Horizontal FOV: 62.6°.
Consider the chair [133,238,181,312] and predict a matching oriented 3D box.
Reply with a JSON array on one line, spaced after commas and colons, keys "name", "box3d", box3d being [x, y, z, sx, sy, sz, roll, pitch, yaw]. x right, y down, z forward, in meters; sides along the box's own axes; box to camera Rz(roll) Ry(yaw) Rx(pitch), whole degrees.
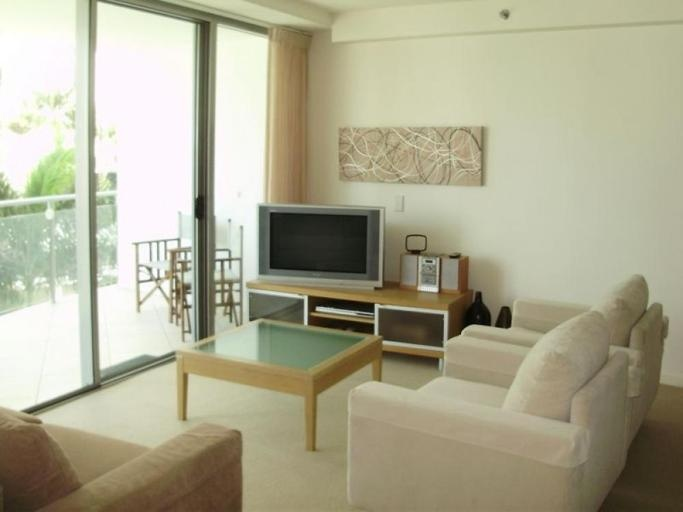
[{"name": "chair", "box3d": [-1.539, 0.147, 4.772, 0.453, 0.576, 0.577, 1, 2, -17]}]

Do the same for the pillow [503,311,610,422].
[{"name": "pillow", "box3d": [0.969, 0.331, 2.564, 0.352, 0.491, 0.688, 8, 13, 39]}]

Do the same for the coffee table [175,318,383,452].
[{"name": "coffee table", "box3d": [-0.297, 0.676, 3.739, 0.844, 0.379, 0.872, 4, 6, 28]}]

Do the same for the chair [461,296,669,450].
[{"name": "chair", "box3d": [1.314, 0.542, 3.452, 1.003, 0.927, 1.089, 5, 9, 35]}]
